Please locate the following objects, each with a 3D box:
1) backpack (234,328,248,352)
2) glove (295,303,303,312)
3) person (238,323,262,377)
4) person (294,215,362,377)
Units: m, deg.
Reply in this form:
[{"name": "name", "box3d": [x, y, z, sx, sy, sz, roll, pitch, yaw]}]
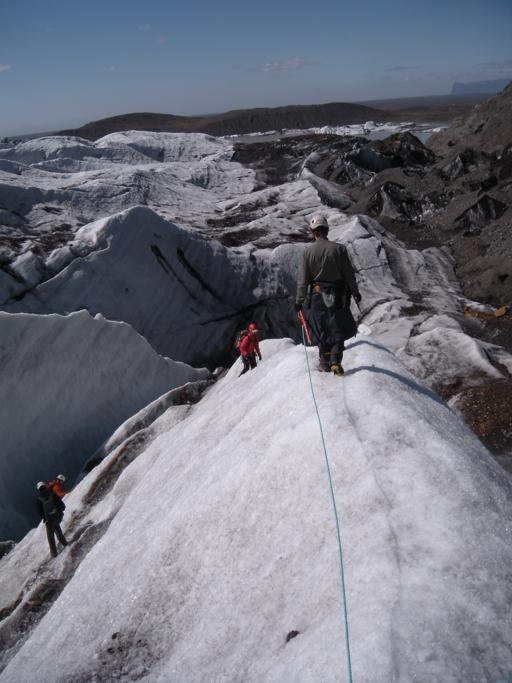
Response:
[{"name": "backpack", "box3d": [-0.155, -0.006, 5.725, 0.172, 0.257, 0.238, 8, 63, 6]}, {"name": "glove", "box3d": [0.328, -0.259, 3.780, 0.087, 0.063, 0.052, -8, -10, 33]}, {"name": "person", "box3d": [-0.088, 0.150, 5.752, 0.274, 0.745, 0.247, 3, 19, 10]}, {"name": "person", "box3d": [0.543, -0.299, 3.662, 0.430, 1.152, 0.677, -16, 32, -17]}]
